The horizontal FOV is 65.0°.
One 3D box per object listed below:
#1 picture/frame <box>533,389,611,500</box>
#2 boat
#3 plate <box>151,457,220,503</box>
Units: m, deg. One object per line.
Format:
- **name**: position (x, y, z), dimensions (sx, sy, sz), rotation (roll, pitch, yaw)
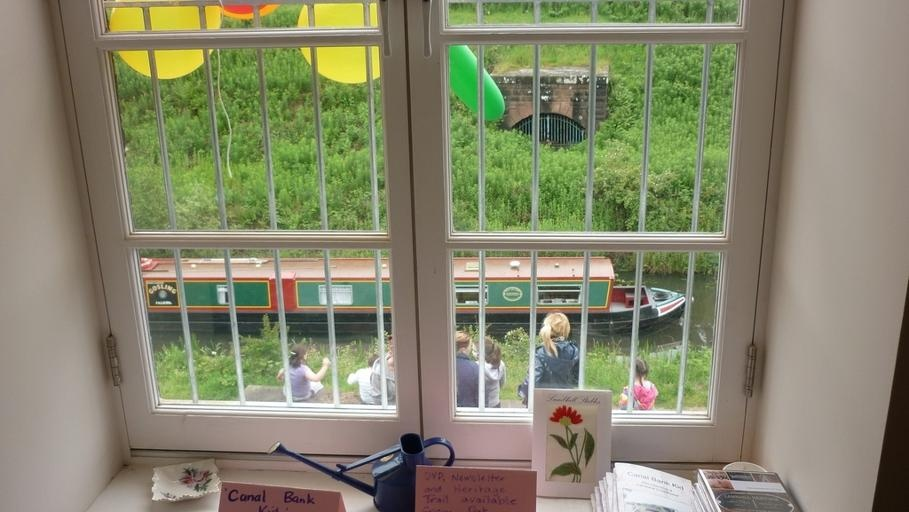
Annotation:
- **picture/frame**: position (0.379, 0.605, 2.288), dimensions (0.275, 0.333, 0.032), rotation (-5, -12, 33)
- **boat**: position (-0.061, 0.118, 2.304), dimensions (1.411, 0.235, 0.142), rotation (-1, 30, 0)
- **plate**: position (-0.884, 0.740, 2.347), dimensions (0.146, 0.038, 0.124), rotation (-3, 30, -14)
